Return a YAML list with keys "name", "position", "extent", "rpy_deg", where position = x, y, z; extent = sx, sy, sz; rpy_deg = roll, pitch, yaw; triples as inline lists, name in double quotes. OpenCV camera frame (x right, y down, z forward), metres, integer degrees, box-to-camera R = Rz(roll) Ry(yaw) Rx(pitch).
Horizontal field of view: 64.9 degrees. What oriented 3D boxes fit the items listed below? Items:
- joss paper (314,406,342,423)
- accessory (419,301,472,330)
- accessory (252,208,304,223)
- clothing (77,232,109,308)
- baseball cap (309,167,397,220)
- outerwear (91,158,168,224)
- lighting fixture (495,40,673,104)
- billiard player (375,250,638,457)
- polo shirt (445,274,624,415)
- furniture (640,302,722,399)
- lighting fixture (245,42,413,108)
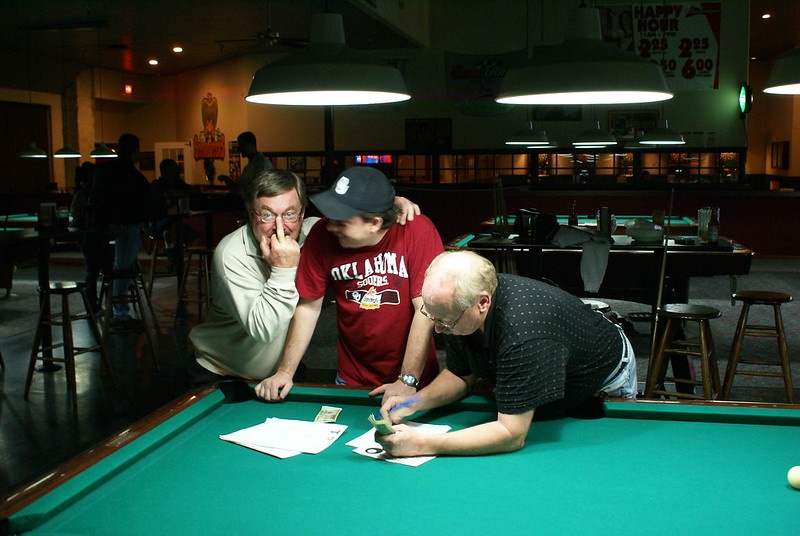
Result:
- name: "joss paper"
  position: [-0.322, 0.656, 2.787]
  extent: [0.105, 0.013, 0.139]
  rpy_deg: [6, 11, 13]
- name: "accessory"
  position: [0.212, 0.206, 2.589]
  extent: [0.131, 0.036, 0.136]
  rpy_deg: [22, 9, 23]
- name: "accessory"
  position: [-0.611, -0.255, 3.126]
  extent: [0.215, 0.066, 0.070]
  rpy_deg: [-4, 6, -24]
- name: "clothing"
  position: [-3.412, 0.056, 7.083]
  extent: [0.325, 0.839, 0.215]
  rpy_deg: [-8, -27, -8]
- name: "baseball cap"
  position: [-0.229, -0.380, 3.047]
  extent: [0.452, 0.178, 0.305]
  rpy_deg: [-18, 39, -29]
- name: "outerwear"
  position: [-3.212, -0.861, 7.110]
  extent: [0.467, 0.719, 0.862]
  rpy_deg: [21, 14, 36]
- name: "lighting fixture"
  position: [0.915, -0.881, 2.929]
  extent: [0.496, 0.153, 0.477]
  rpy_deg: [-3, 3, -34]
- name: "billiard player"
  position: [0.540, 0.345, 2.855]
  extent: [1.394, 0.768, 0.765]
  rpy_deg: [-7, 13, -33]
- name: "polo shirt"
  position: [0.644, 0.320, 2.758]
  extent: [0.706, 0.407, 0.555]
  rpy_deg: [-3, -3, -29]
- name: "furniture"
  position: [2.118, 0.704, 4.660]
  extent: [0.515, 0.806, 0.506]
  rpy_deg: [6, 7, 31]
- name: "lighting fixture"
  position: [-0.360, -0.952, 3.080]
  extent: [0.766, 0.263, 0.447]
  rpy_deg: [-2, 5, -1]
